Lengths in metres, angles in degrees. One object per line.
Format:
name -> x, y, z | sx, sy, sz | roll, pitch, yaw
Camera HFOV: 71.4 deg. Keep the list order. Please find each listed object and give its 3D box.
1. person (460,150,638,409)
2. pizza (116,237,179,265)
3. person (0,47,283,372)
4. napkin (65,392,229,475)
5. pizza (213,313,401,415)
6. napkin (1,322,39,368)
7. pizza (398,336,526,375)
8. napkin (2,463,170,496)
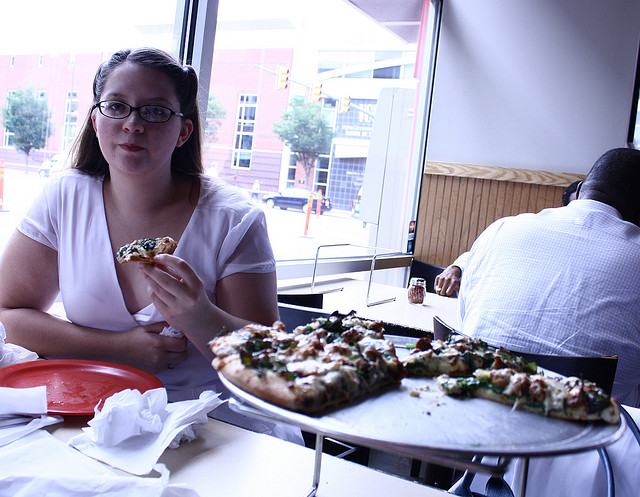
person -> 0.915, 0.166, 1.695 | 0.653, 0.825, 0.430 | 10, 5, 10
pizza -> -0.457, -0.011, 1.165 | 0.115, 0.046, 0.087 | -7, 16, -18
person -> -0.546, -0.138, 1.462 | 0.892, 0.960, 0.440 | 8, 5, -3
napkin -> -0.335, 0.342, 0.972 | 0.309, 0.080, 0.272 | 3, 4, 39
pizza -> -0.002, 0.154, 0.673 | 0.196, 0.023, 0.136 | -6, 16, -43
napkin -> -0.779, 0.250, 1.177 | 0.083, 0.104, 0.114 | -1, 6, -5
pizza -> 0.253, 0.191, 0.811 | 0.160, 0.028, 0.095 | -3, 13, -25
napkin -> -0.368, 0.376, 0.702 | 0.244, 0.023, 0.055 | 8, 5, -15
